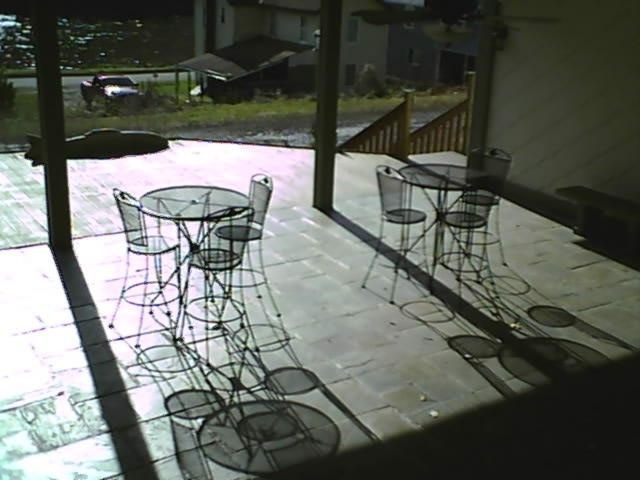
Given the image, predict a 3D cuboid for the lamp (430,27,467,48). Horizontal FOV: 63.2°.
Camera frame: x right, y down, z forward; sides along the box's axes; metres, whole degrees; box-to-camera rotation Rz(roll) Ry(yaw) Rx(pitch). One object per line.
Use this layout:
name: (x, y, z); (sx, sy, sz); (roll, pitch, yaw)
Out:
lamp: (1.097, -1.733, 4.422); (0.206, 0.100, 0.218); (-8, 23, -12)
